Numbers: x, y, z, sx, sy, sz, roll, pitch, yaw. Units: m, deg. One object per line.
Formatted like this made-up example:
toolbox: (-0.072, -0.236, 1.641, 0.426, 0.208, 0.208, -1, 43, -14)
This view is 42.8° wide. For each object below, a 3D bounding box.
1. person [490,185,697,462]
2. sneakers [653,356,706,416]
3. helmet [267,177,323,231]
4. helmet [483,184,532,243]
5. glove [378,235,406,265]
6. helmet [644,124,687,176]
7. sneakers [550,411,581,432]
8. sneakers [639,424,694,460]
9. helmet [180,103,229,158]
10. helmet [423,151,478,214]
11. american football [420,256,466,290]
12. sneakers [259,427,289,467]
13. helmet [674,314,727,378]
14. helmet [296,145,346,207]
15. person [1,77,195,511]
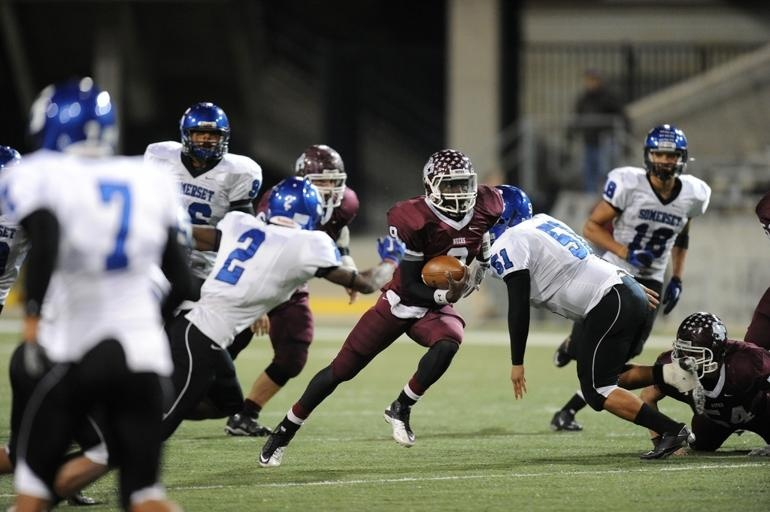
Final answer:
person: (1.172, 0.470, 5.756, 1.093, 1.400, 0.339, 0, 3, 4)
sneakers: (1.743, 0.732, 5.707, 0.159, 0.317, 0.227, -31, 11, -11)
helmet: (-0.495, -0.287, 5.651, 0.244, 0.296, 0.325, 11, -11, 6)
helmet: (0.815, -0.276, 6.225, 0.328, 0.339, 0.279, -5, 3, 11)
glove: (0.033, -0.051, 6.069, 0.182, 0.151, 0.084, 28, 41, 27)
helmet: (1.943, -0.711, 6.754, 0.260, 0.327, 0.368, 4, 10, 15)
sneakers: (1.210, 1.110, 6.621, 0.245, 0.115, 0.091, 9, 3, 32)
sneakers: (1.640, 1.068, 5.671, 0.292, 0.211, 0.147, 0, 3, 3)
helmet: (-1.195, -0.833, 6.485, 0.323, 0.367, 0.411, 0, 16, -19)
helmet: (0.370, -0.453, 5.889, 0.282, 0.367, 0.376, -6, 18, -18)
american football: (0.351, 0.113, 5.849, 0.288, 0.238, 0.239, -6, -10, 35)
sneakers: (-0.617, 1.105, 5.671, 0.127, 0.102, 0.304, -33, 23, 27)
helmet: (1.867, 0.500, 5.732, 0.329, 0.327, 0.276, -11, 13, -10)
helmet: (-0.426, -0.558, 6.605, 0.306, 0.367, 0.399, -4, 19, -23)
person: (-1.211, 0.104, 4.105, 0.774, 1.713, 0.369, -1, 3, -12)
